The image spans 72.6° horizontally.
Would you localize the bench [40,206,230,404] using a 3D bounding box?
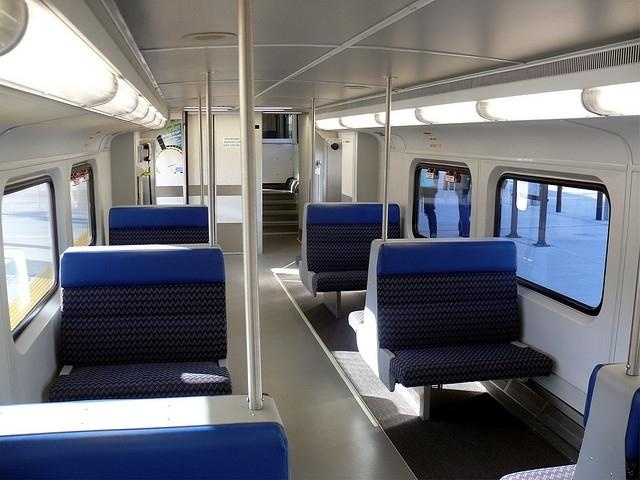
[{"bbox_3d":[-1.572,0.381,3.992,1.269,1.006,3.068,-3,13,-18],"label":"bench"}]
